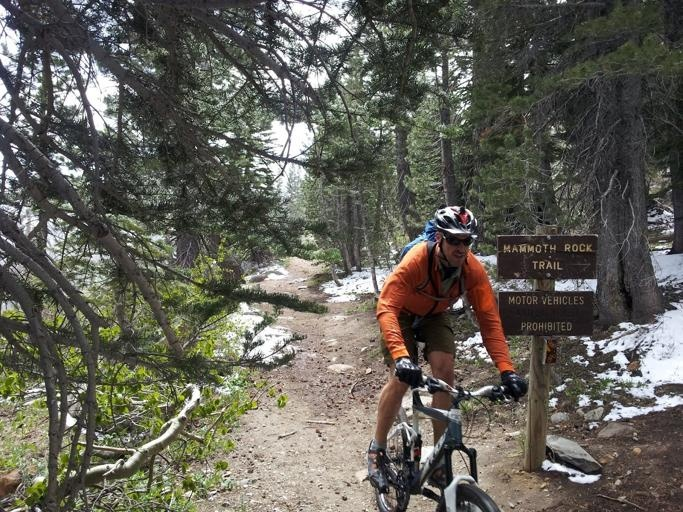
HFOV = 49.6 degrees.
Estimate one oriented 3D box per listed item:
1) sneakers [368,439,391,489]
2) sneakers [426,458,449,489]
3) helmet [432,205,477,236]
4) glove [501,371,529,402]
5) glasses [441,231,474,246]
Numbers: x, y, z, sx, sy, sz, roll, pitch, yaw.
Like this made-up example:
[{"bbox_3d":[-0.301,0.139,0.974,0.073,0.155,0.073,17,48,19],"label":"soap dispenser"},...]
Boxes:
[{"bbox_3d":[0.460,2.644,9.368,0.196,0.275,0.622,1,33,-6],"label":"sneakers"},{"bbox_3d":[1.141,2.535,8.594,0.115,0.378,0.251,-3,23,-30],"label":"sneakers"},{"bbox_3d":[1.355,-0.385,8.809,0.465,0.398,0.346,-7,2,5],"label":"helmet"},{"bbox_3d":[1.993,1.503,8.534,0.277,0.342,0.326,-6,2,2],"label":"glove"},{"bbox_3d":[1.387,-0.182,8.753,0.346,0.194,0.188,-7,2,7],"label":"glasses"}]
